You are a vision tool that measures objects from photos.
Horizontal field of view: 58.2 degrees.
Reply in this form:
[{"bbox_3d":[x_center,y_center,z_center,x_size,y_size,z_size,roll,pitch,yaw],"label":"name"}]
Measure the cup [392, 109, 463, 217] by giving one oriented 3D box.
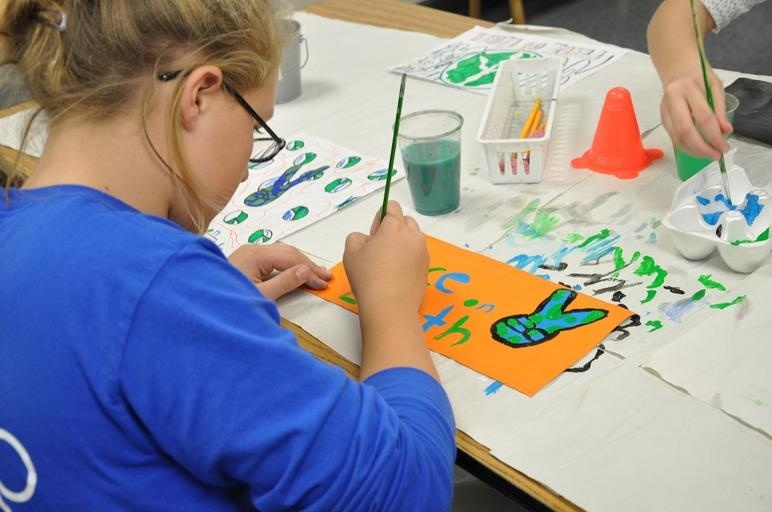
[{"bbox_3d":[0.087,-0.165,1.308,0.136,0.151,0.130,-6,17,2],"label":"cup"}]
